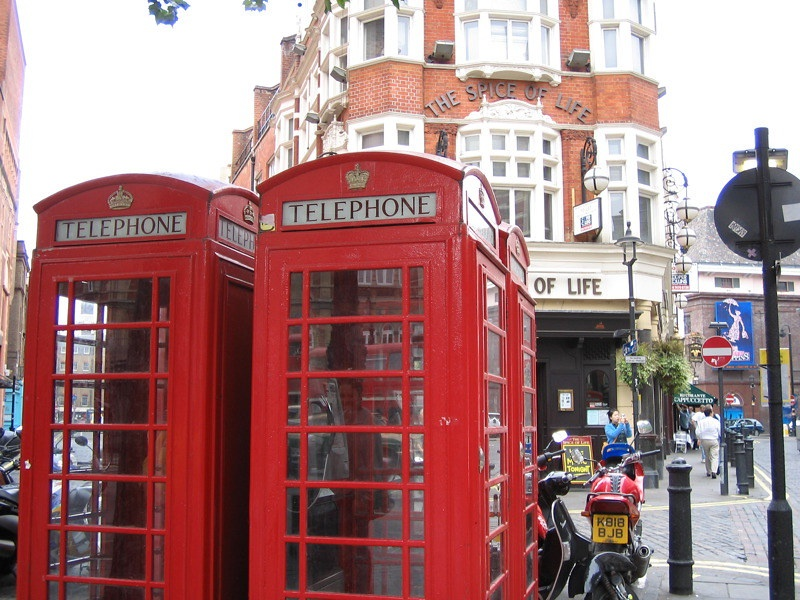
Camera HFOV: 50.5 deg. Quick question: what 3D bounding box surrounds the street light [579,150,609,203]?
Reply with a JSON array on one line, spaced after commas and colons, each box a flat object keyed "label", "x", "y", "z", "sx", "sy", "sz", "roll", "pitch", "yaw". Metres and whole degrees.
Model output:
[{"label": "street light", "x": 4.759, "y": -3.407, "z": 20.953, "sx": 0.607, "sy": 1.755, "sz": 1.422, "roll": -4, "pitch": -10, "yaw": 12}]

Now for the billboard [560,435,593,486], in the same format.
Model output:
[{"label": "billboard", "x": 4.003, "y": 3.635, "z": 19.082, "sx": 0.671, "sy": 1.318, "sz": 0.047, "roll": -3, "pitch": 28, "yaw": 15}]

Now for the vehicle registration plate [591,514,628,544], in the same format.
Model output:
[{"label": "vehicle registration plate", "x": 2.008, "y": 2.181, "z": 8.056, "sx": 0.249, "sy": 0.224, "sz": 0.035, "roll": -2, "pitch": -7, "yaw": 7}]
